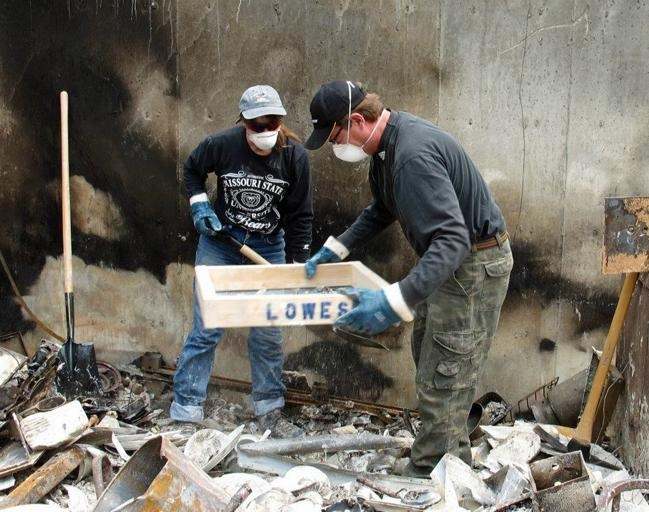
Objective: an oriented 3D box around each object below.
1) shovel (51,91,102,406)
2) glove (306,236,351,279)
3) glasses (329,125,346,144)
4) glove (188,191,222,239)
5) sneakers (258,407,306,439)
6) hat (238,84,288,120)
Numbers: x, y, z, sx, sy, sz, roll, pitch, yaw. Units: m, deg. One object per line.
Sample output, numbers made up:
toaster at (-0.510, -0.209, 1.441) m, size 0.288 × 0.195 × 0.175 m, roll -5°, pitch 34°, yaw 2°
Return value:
shovel at (-2.122, -0.152, 7.956) m, size 0.367 × 2.548 × 1.050 m, roll -1°, pitch 6°, yaw -15°
glove at (0.010, 0.003, 6.779) m, size 0.359 × 0.219 × 0.137 m, roll -42°, pitch -7°, yaw -12°
glasses at (0.092, -0.861, 6.427) m, size 0.082 × 0.134 × 0.089 m, roll 21°, pitch 20°, yaw -19°
glove at (-0.962, -0.336, 7.416) m, size 0.177 × 0.149 × 0.388 m, roll -6°, pitch 46°, yaw -12°
sneakers at (-0.359, 1.375, 7.581) m, size 0.153 × 0.232 × 0.425 m, roll 1°, pitch -10°, yaw -33°
hat at (-0.487, -1.208, 7.167) m, size 0.367 × 0.266 × 0.589 m, roll -8°, pitch 15°, yaw -16°
